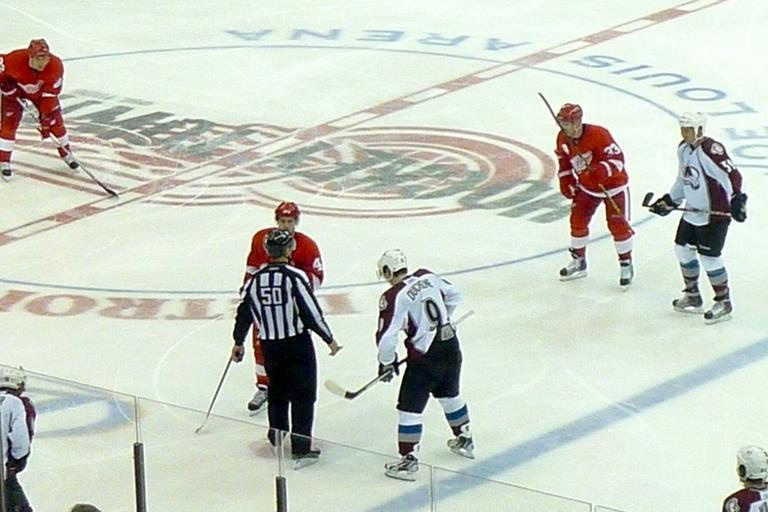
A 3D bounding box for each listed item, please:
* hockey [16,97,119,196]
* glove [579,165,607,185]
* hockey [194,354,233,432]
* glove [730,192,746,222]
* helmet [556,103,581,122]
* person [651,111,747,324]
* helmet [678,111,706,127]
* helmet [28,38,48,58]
[{"bbox_3d":[-3.858,-1.274,13.537,2.441,0.209,0.179,40,2,33],"label":"hockey"},{"bbox_3d":[1.980,-0.758,10.481,0.165,0.187,0.286,-8,9,-26],"label":"glove"},{"bbox_3d":[-1.304,1.055,8.528,0.088,0.656,0.109,39,-47,-18],"label":"hockey"},{"bbox_3d":[3.013,-0.420,9.529,0.125,0.251,0.223,-2,9,16],"label":"glove"},{"bbox_3d":[1.709,-1.320,10.354,0.214,0.165,0.283,-2,7,10],"label":"helmet"},{"bbox_3d":[2.803,-0.335,9.816,0.455,1.827,0.869,-10,11,-26],"label":"person"},{"bbox_3d":[2.644,-1.167,9.603,0.226,0.090,0.153,-2,9,-25],"label":"helmet"},{"bbox_3d":[-3.815,-2.296,12.360,0.234,0.218,0.086,0,-41,0],"label":"helmet"}]
